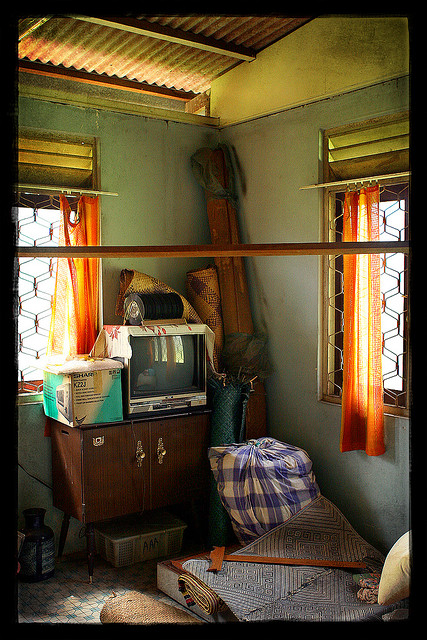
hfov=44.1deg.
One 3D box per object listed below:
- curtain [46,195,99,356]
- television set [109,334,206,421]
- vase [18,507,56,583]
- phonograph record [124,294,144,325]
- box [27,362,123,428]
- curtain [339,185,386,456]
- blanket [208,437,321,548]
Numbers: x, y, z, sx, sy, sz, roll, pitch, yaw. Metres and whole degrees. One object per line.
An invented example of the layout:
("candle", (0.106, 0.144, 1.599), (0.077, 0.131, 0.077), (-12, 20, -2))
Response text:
("curtain", (-0.904, -0.285, 3.417), (0.403, 1.034, 0.230), (-5, 5, -24))
("television set", (-0.339, 0.283, 3.480), (0.516, 0.558, 0.317), (-2, 13, -22))
("vase", (-1.073, 1.362, 3.165), (0.215, 0.430, 0.232), (-12, -13, 29))
("phonograph record", (-0.488, -0.068, 3.320), (0.041, 0.180, 0.156), (-5, 14, -40))
("box", (-0.847, 0.444, 3.356), (0.454, 0.353, 0.598), (-2, 1, -38))
("curtain", (0.831, 0.023, 3.023), (0.270, 1.532, 0.302), (-1, 5, 19))
("blanket", (0.371, 1.139, 3.221), (0.603, 0.713, 0.490), (-16, -21, 25))
